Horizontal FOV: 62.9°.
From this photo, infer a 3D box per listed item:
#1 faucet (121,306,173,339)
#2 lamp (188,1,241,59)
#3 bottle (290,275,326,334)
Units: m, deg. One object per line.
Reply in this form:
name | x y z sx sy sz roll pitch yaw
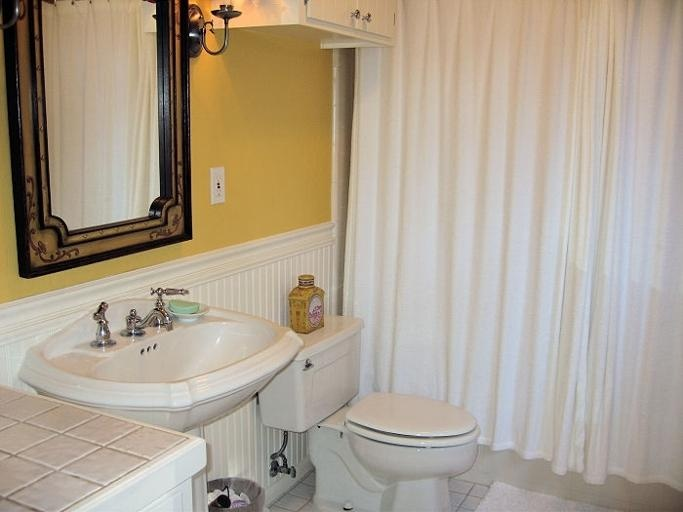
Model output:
faucet | -0.601 0.207 1.721 0.149 0.071 0.074 0 6 2
lamp | -0.444 -0.773 1.919 0.168 0.175 0.370 -6 18 -13
bottle | -0.158 0.226 2.502 0.109 0.297 0.190 6 13 25
